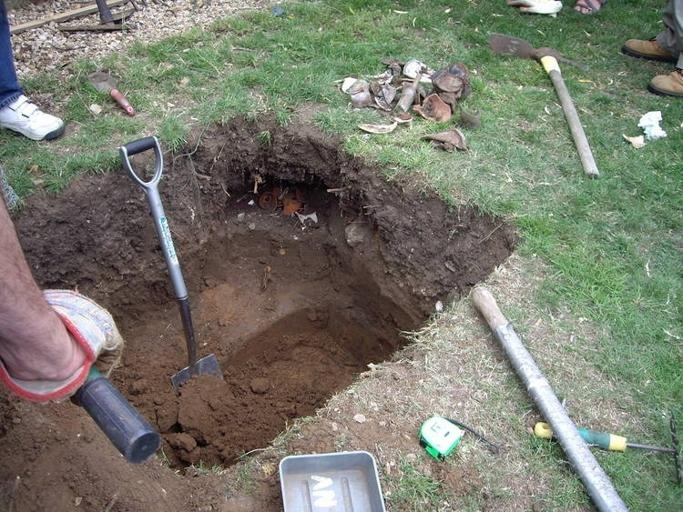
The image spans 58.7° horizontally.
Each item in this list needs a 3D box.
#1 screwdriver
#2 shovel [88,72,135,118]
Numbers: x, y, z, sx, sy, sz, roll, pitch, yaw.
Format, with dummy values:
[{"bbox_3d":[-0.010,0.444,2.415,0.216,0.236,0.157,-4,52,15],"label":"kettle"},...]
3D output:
[{"bbox_3d":[2.012,1.405,4.607,1.104,0.131,0.118,8,52,2],"label":"screwdriver"},{"bbox_3d":[-2.290,-1.603,6.003,0.231,0.118,0.699,-29,60,-23],"label":"shovel"}]
